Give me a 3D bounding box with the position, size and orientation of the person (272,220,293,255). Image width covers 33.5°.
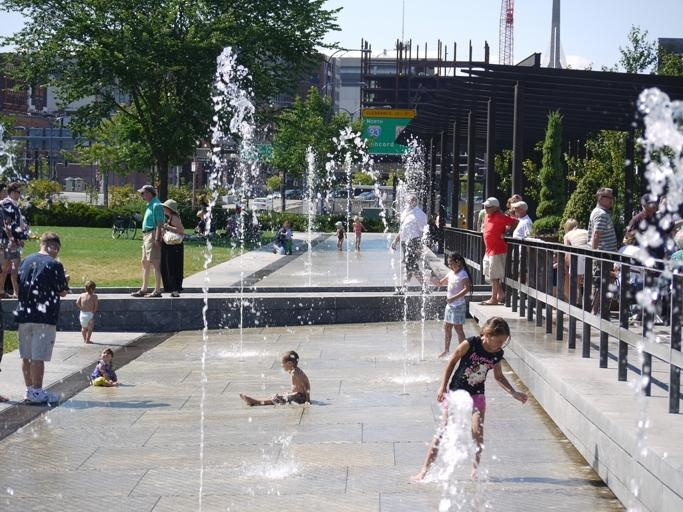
[{"bbox_3d":[-1.803,-0.601,34.924,0.566,1.102,1.708,-2,8,-4],"label":"person"}]

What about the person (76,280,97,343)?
[{"bbox_3d":[-4.147,0.888,18.523,0.302,1.036,0.807,-3,8,-13],"label":"person"}]

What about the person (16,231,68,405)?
[{"bbox_3d":[-3.910,0.829,14.947,0.703,2.212,0.719,3,1,25],"label":"person"}]

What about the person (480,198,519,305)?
[{"bbox_3d":[2.643,-0.068,18.999,0.548,1.886,1.260,0,8,7],"label":"person"}]

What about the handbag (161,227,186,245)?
[{"bbox_3d":[-3.085,-0.332,20.724,0.318,0.377,0.224,3,2,10],"label":"handbag"}]

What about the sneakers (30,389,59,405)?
[{"bbox_3d":[-3.891,1.829,14.853,0.438,0.232,0.156,2,12,-19],"label":"sneakers"}]

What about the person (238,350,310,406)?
[{"bbox_3d":[-0.861,1.611,14.978,0.888,0.790,0.437,-1,-2,-4],"label":"person"}]

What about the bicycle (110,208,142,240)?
[{"bbox_3d":[-8.195,-1.211,43.145,1.000,1.358,2.053,3,-2,-33],"label":"bicycle"}]

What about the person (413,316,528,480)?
[{"bbox_3d":[1.460,1.536,12.687,1.171,1.772,0.536,-1,7,0],"label":"person"}]

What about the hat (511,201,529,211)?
[{"bbox_3d":[3.035,-0.857,19.297,0.195,0.113,0.155,8,1,13],"label":"hat"}]

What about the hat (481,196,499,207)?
[{"bbox_3d":[2.494,-0.861,18.443,0.262,0.159,0.204,4,-1,-24],"label":"hat"}]
